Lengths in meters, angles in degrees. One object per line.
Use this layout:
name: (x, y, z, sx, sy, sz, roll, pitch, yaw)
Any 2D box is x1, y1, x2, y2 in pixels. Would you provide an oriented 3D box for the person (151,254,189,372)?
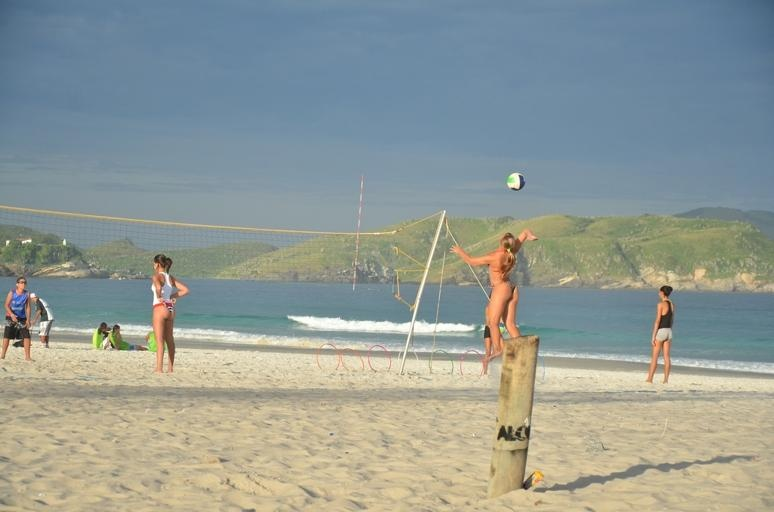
person: (-5.094, 1.269, 22.101, 0.713, 2.224, 1.046, 3, -2, -11)

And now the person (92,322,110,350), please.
person: (-8.095, 2.252, 27.142, 0.429, 0.638, 0.924, 3, -2, -16)

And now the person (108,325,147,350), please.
person: (-7.390, 2.315, 27.206, 1.098, 0.566, 0.678, 1, 2, -30)

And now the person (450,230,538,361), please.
person: (2.282, 0.700, 19.877, 1.311, 1.658, 0.816, 2, -2, 17)
